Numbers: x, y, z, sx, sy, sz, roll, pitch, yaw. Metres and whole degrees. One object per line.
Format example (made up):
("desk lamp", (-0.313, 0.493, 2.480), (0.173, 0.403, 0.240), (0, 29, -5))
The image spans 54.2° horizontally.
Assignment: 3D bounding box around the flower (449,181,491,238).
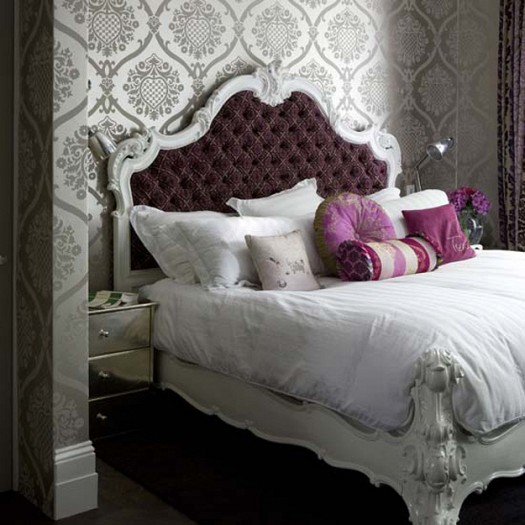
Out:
("flower", (1.520, -0.328, 3.812), (0.297, 0.433, 0.369), (-4, 6, 10))
